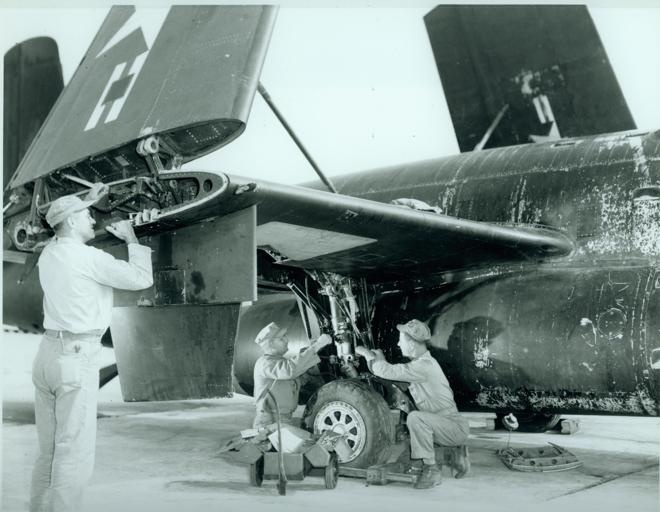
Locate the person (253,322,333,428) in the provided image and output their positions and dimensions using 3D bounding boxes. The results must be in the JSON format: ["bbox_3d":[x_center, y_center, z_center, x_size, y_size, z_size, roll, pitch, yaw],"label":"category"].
[{"bbox_3d":[-0.389,1.431,8.225,1.042,1.364,0.713,-3,6,23],"label":"person"}]

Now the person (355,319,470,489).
[{"bbox_3d":[0.919,1.533,8.091,0.984,1.923,0.832,4,-5,-43],"label":"person"}]
